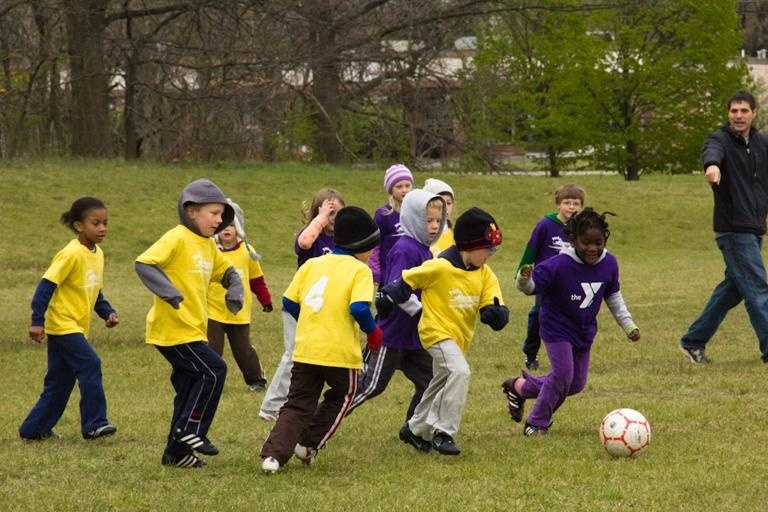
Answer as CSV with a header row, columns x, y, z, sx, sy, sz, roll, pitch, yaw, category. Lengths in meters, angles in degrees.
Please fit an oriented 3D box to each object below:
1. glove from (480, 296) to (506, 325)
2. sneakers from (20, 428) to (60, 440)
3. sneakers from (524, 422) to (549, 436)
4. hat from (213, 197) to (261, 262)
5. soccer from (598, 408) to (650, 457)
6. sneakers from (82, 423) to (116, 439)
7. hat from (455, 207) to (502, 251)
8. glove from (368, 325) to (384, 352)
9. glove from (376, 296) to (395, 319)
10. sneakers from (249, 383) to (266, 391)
x,y,z,sx,sy,sz,roll,pitch,yaw,category
1.976,1.025,26.515,0.481,0.577,0.269,-1,3,-1,glove
-6.220,3.287,27.044,0.731,0.277,0.228,-1,2,-14,sneakers
2.786,3.161,26.808,0.210,0.152,0.394,3,-8,-33,sneakers
-2.752,-0.540,28.815,1.189,1.279,0.551,-11,10,-27,hat
4.247,3.218,26.681,0.895,0.807,0.833,24,-19,-13,soccer
-5.046,3.181,26.840,0.707,0.277,0.244,-2,4,23,sneakers
1.664,-0.493,26.527,0.834,0.649,0.818,-14,-5,-40,hat
-0.140,1.470,26.341,0.254,0.459,0.394,-1,3,0,glove
0.008,0.928,26.410,0.353,0.347,0.391,2,-42,-15,glove
-2.392,2.523,28.473,0.240,0.088,0.129,-3,-1,-2,sneakers
